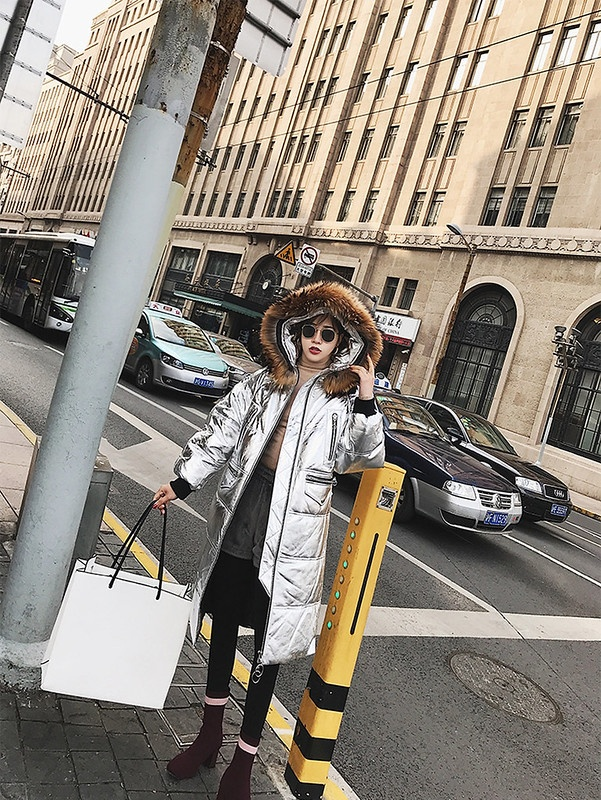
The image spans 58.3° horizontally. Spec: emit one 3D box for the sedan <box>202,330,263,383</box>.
[{"bbox_3d":[-1.949,-1.227,15.184,1.449,1.213,3.165,0,6,-31],"label":"sedan"}]

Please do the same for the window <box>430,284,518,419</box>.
[{"bbox_3d":[8.754,-2.272,26.420,2.778,6.844,0.597,13,34,10],"label":"window"}]

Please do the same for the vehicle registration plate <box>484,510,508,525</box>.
[{"bbox_3d":[2.639,1.584,7.100,0.429,0.211,0.027,20,2,-29],"label":"vehicle registration plate"}]

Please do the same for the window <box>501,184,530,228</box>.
[{"bbox_3d":[10.398,-9.118,25.256,0.299,1.999,0.900,17,4,-43],"label":"window"}]

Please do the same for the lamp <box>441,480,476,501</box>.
[{"bbox_3d":[2.151,1.192,7.060,0.226,0.129,0.300,14,-8,-12],"label":"lamp"}]

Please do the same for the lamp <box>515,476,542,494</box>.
[{"bbox_3d":[4.389,1.613,10.125,0.355,0.163,0.293,17,-6,6],"label":"lamp"}]

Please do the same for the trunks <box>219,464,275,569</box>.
[{"bbox_3d":[-0.161,0.402,1.854,0.221,0.321,0.166,15,1,2],"label":"trunks"}]

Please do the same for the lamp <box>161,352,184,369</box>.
[{"bbox_3d":[-2.880,-0.854,12.047,0.389,0.147,0.304,32,1,-7],"label":"lamp"}]

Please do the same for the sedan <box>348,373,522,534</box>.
[{"bbox_3d":[1.600,0.795,8.704,1.624,1.424,4.092,8,7,-38],"label":"sedan"}]

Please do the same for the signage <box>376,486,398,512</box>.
[{"bbox_3d":[0.297,0.317,1.765,0.074,0.080,0.028,9,5,0],"label":"signage"}]

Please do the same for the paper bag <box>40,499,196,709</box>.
[{"bbox_3d":[-0.513,0.605,1.629,0.365,0.575,0.178,16,8,-9],"label":"paper bag"}]

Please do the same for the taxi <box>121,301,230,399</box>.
[{"bbox_3d":[-3.571,-1.333,13.996,2.076,2.182,4.443,11,3,-44],"label":"taxi"}]

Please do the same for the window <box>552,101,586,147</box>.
[{"bbox_3d":[12.175,-12.370,24.026,0.313,2.178,0.887,18,3,-33],"label":"window"}]

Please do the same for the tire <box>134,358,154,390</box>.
[{"bbox_3d":[-3.636,-0.602,12.514,0.174,0.521,0.525,7,44,-41],"label":"tire"}]
